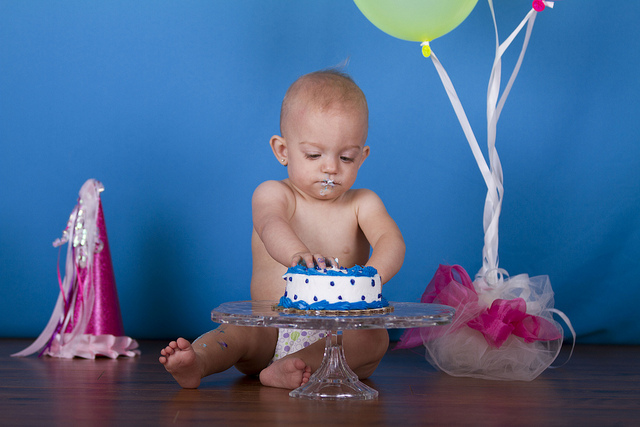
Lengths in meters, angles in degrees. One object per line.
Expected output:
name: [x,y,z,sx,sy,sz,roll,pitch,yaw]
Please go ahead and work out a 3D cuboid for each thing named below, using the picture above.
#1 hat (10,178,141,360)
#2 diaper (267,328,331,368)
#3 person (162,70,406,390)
hat: [-1.131,0.261,3.238,0.555,0.906,0.191,0,0,5]
diaper: [-0.097,0.562,2.826,0.234,0.161,0.116,0,0,-2]
person: [-0.094,0.028,2.763,0.874,1.302,0.601,0,0,7]
